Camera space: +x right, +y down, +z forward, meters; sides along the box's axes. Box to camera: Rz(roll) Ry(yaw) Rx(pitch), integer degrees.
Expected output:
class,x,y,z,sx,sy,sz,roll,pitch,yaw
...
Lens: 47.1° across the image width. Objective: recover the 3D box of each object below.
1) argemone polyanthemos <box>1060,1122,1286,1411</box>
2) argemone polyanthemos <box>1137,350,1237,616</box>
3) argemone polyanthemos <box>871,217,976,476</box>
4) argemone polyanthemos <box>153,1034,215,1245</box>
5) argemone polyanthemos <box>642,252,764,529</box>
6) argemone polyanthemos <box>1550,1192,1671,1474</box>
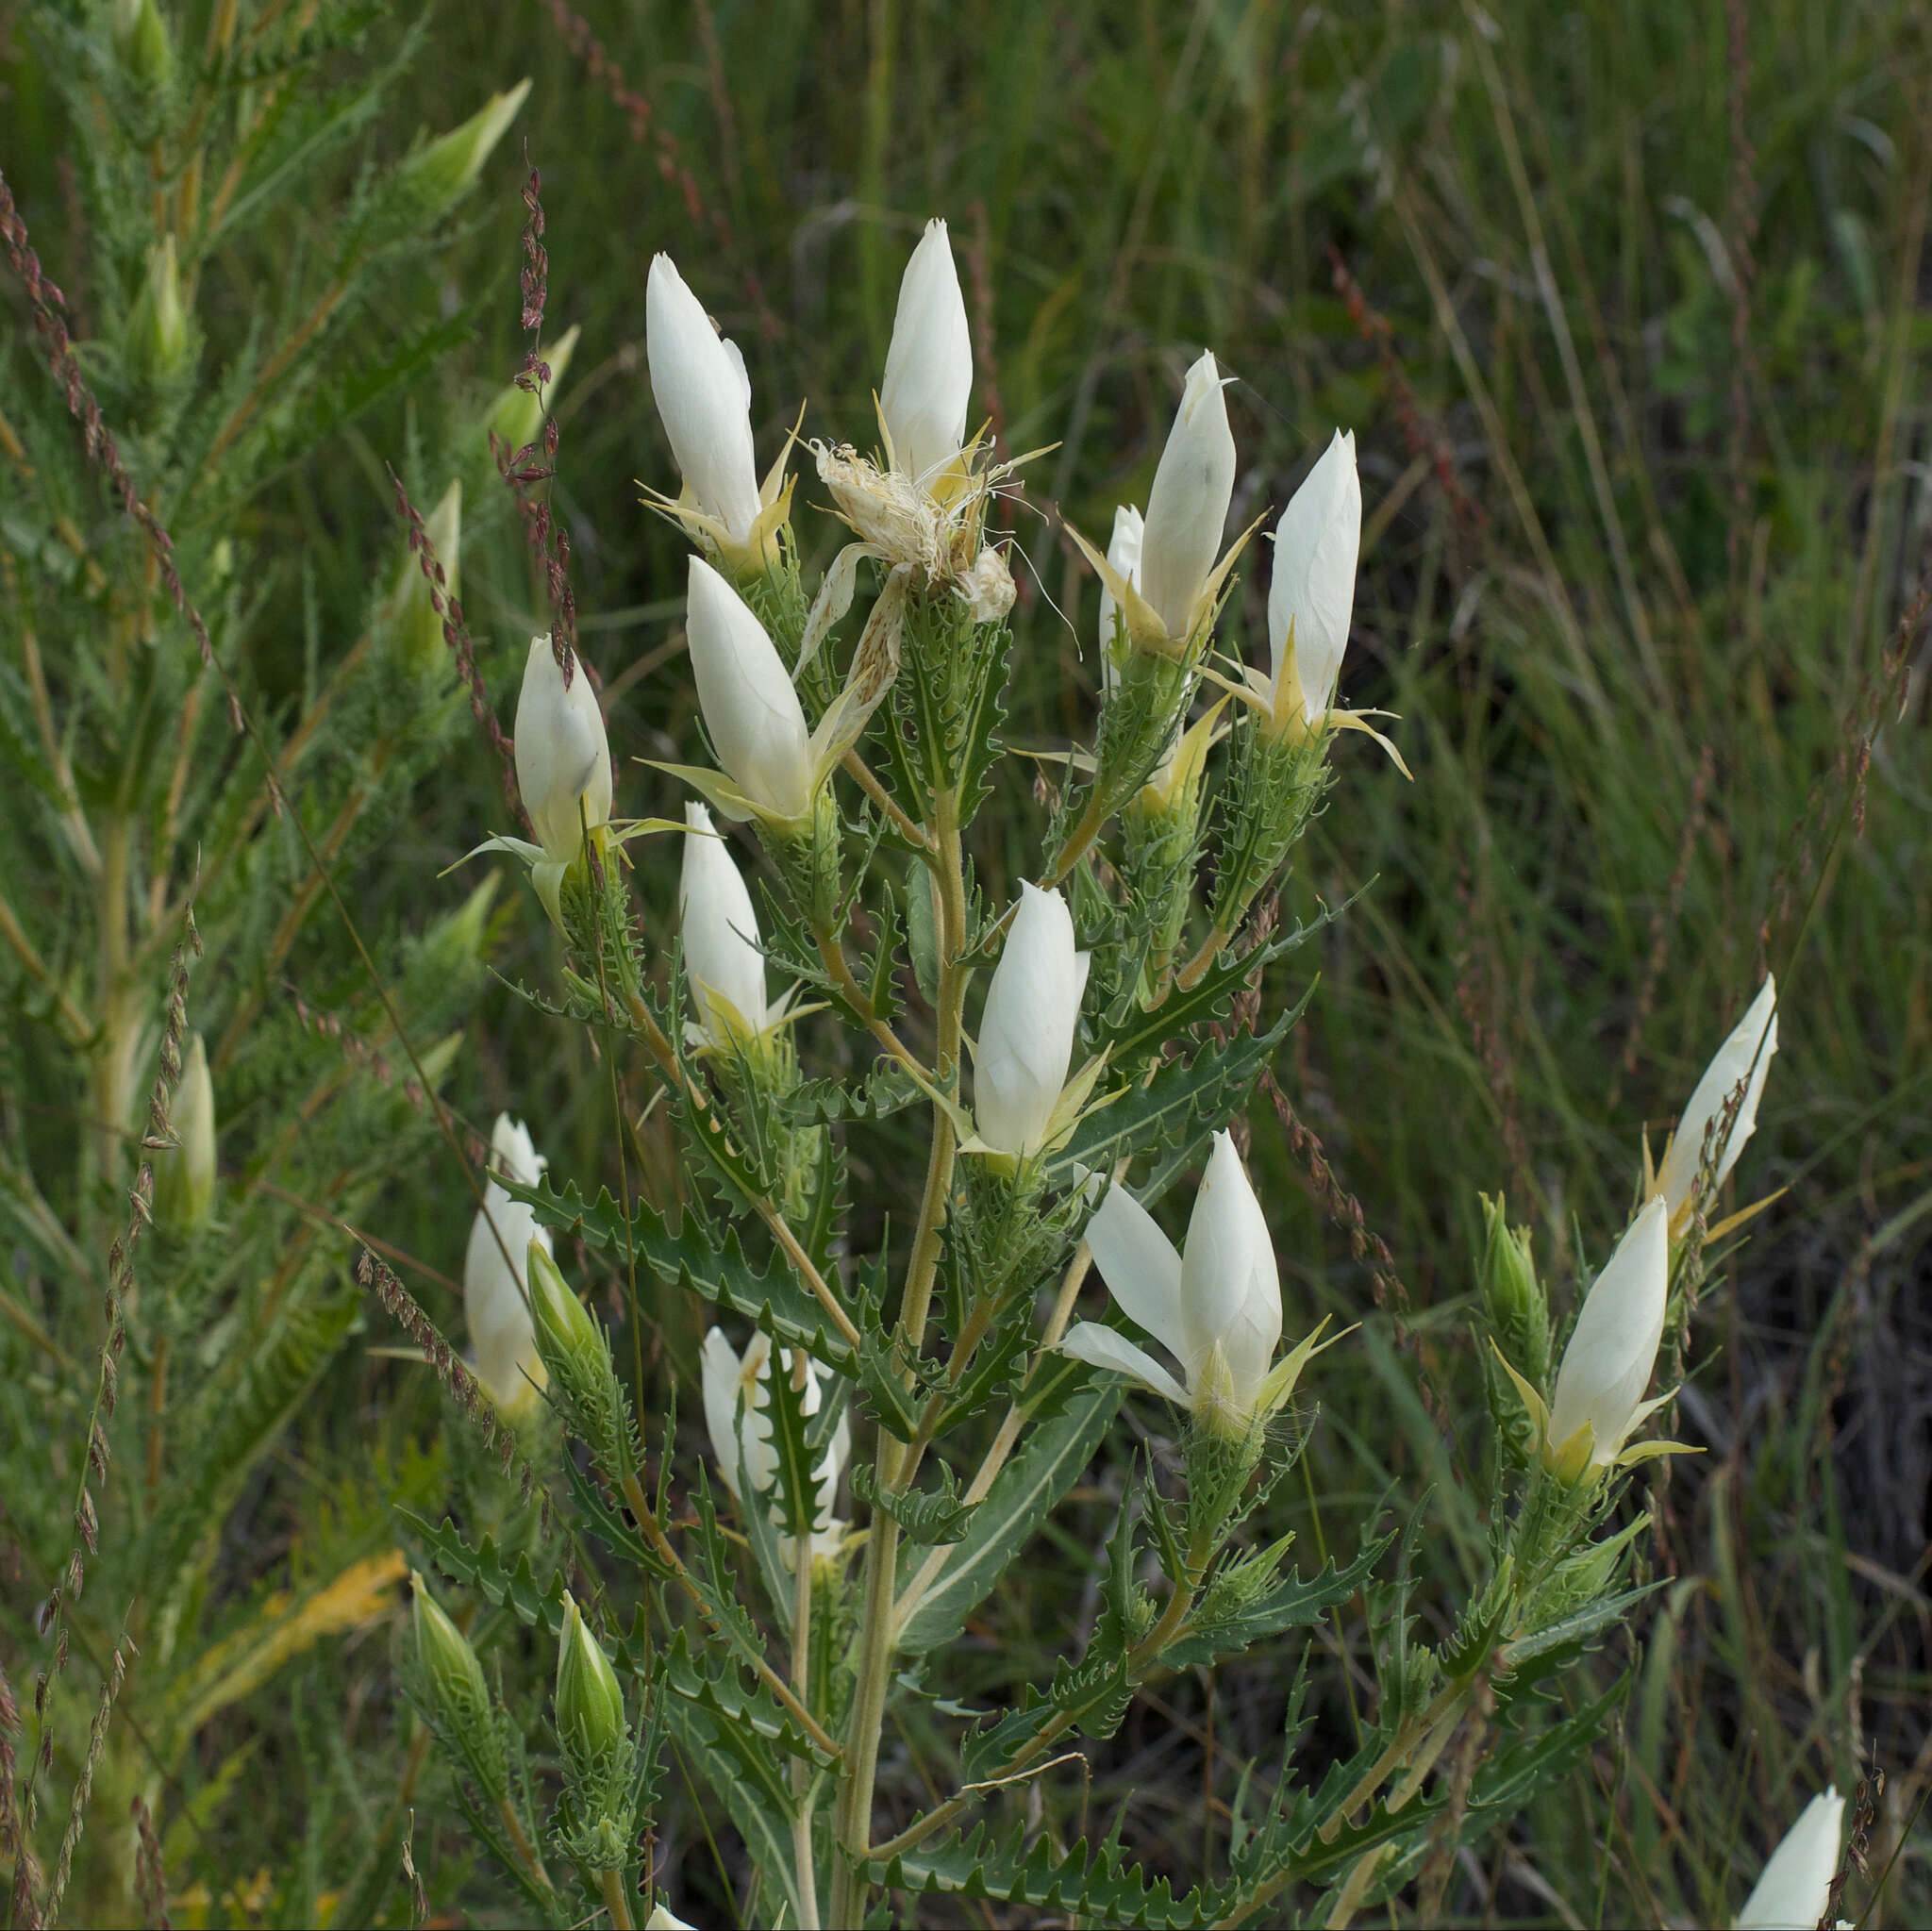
class,x,y,z,sx,sy,sz,roll,pitch,yaw
argemone polyanthemos,0.106,0.163,1.152,0.107,0.136,0.067,25,37,-11
argemone polyanthemos,0.119,-0.237,1.167,0.036,0.051,0.203,1,52,19
argemone polyanthemos,-0.024,-0.315,1.148,0.039,0.091,0.104,5,50,16
argemone polyanthemos,-0.594,0.130,1.685,0.029,0.042,0.187,-9,69,8
argemone polyanthemos,-0.143,-0.309,1.180,0.050,0.107,0.129,-15,48,-5
argemone polyanthemos,0.327,0.187,1.122,0.034,0.150,0.032,27,30,33
